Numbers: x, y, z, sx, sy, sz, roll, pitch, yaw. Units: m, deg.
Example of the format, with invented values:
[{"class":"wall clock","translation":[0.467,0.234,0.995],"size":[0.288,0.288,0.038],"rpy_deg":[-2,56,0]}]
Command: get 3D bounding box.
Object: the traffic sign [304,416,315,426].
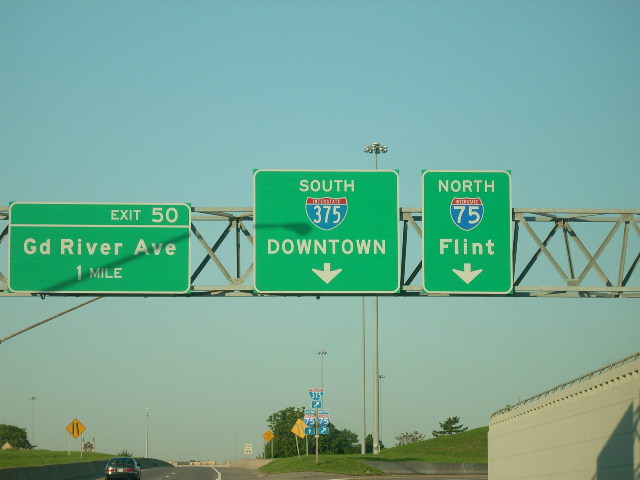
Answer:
[{"class":"traffic sign","translation":[-0.694,14.672,127.611],"size":[0.675,0.747,0.709],"rpy_deg":[1,-1,-35]}]
